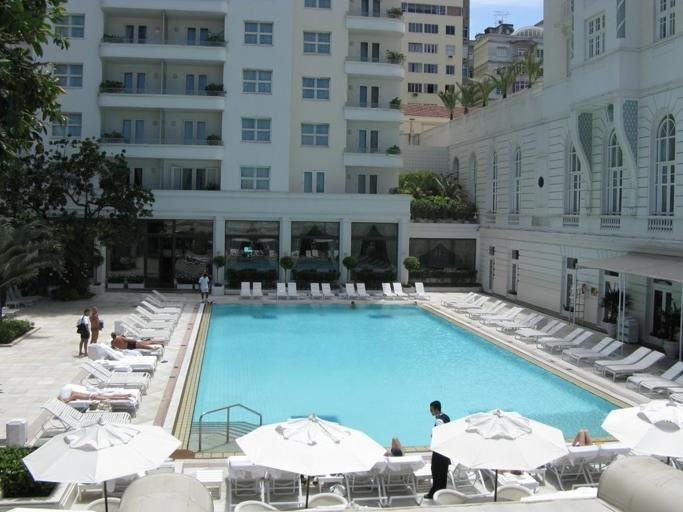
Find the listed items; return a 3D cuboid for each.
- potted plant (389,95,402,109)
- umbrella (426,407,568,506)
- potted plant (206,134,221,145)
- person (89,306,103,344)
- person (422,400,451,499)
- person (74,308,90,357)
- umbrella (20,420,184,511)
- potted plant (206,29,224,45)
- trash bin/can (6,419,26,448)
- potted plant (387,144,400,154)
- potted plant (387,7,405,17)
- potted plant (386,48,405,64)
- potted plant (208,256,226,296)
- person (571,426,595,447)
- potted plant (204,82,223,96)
[{"bbox_3d":[3.338,-9.400,38.263,0.644,0.545,0.687,2,10,-1],"label":"potted plant"},{"bbox_3d":[3.014,3.436,11.737,1.885,1.614,2.007,0,12,12],"label":"umbrella"},{"bbox_3d":[-7.331,-6.649,35.830,0.762,0.650,0.520,-2,1,-3],"label":"potted plant"},{"bbox_3d":[-8.713,2.428,22.062,0.393,1.298,0.932,-2,2,-22],"label":"person"},{"bbox_3d":[2.044,4.070,13.210,0.565,1.987,0.695,4,0,32],"label":"person"},{"bbox_3d":[-8.953,2.634,21.597,0.413,1.550,1.015,-2,2,-22],"label":"person"},{"bbox_3d":[-4.141,3.545,11.264,1.813,1.521,1.929,2,7,9],"label":"umbrella"},{"bbox_3d":[-7.108,-12.558,36.006,0.978,0.866,1.062,0,-2,14],"label":"potted plant"},{"bbox_3d":[-7.247,3.945,13.866,0.491,0.582,0.295,-2,0,11],"label":"trash bin/can"},{"bbox_3d":[3.230,-6.489,38.127,0.600,0.491,0.630,-2,9,-17],"label":"potted plant"},{"bbox_3d":[3.286,-14.787,38.082,0.754,0.465,0.799,0,5,-12],"label":"potted plant"},{"bbox_3d":[3.287,-12.060,37.860,0.795,0.574,0.853,2,0,-2],"label":"potted plant"},{"bbox_3d":[-7.070,1.069,35.544,0.964,2.183,1.837,-2,1,-11],"label":"potted plant"},{"bbox_3d":[5.648,4.287,14.584,0.402,0.367,0.865,-1,1,19],"label":"person"},{"bbox_3d":[-7.318,-9.471,35.702,0.769,0.646,0.745,3,6,42],"label":"potted plant"}]
